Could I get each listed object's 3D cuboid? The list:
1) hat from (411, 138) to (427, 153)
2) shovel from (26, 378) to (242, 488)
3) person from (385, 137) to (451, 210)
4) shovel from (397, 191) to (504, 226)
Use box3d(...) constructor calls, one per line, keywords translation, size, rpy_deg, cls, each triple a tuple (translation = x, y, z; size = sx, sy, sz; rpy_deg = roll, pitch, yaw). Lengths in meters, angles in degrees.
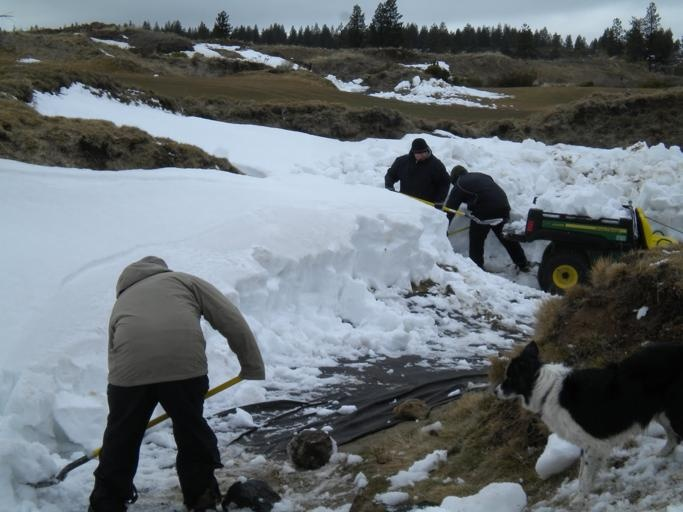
box3d(translation=(1.525, -2.112, 14.417), size=(0.208, 0.232, 0.281), rpy_deg=(-18, -1, -33), cls="hat")
box3d(translation=(-2.463, 2.040, 8.681), size=(2.233, 0.465, 0.245), rpy_deg=(-27, 16, -6), cls="shovel")
box3d(translation=(1.516, -1.561, 14.814), size=(1.174, 1.707, 0.962), rpy_deg=(7, 34, 19), cls="person")
box3d(translation=(2.190, -0.891, 14.434), size=(1.777, 0.536, 0.957), rpy_deg=(-2, 14, -9), cls="shovel")
